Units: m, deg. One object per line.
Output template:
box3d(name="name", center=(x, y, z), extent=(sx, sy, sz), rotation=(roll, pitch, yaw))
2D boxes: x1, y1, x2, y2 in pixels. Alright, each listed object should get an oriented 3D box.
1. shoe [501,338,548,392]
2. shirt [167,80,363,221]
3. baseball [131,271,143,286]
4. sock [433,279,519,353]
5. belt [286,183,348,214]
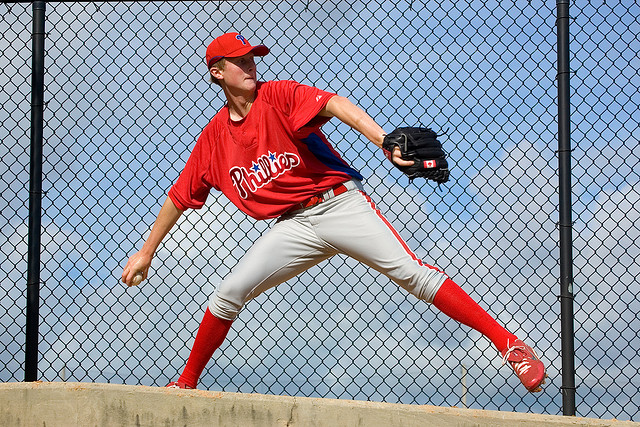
box3d(name="shoe", center=(1.310, 0.987, 7.722), extent=(0.284, 0.339, 0.118), rotation=(3, -2, 8))
box3d(name="shirt", center=(-0.360, -0.423, 8.041), extent=(1.120, 0.607, 0.323), rotation=(2, -2, 27))
box3d(name="baseball", center=(-1.243, 0.442, 8.150), extent=(0.076, 0.070, 0.178), rotation=(3, -1, -9))
box3d(name="sock", center=(1.047, 0.719, 7.816), extent=(0.769, 0.245, 0.165), rotation=(33, 48, 10))
box3d(name="belt", center=(0.004, -0.095, 7.900), extent=(0.272, 0.069, 0.195), rotation=(-28, -10, 1))
